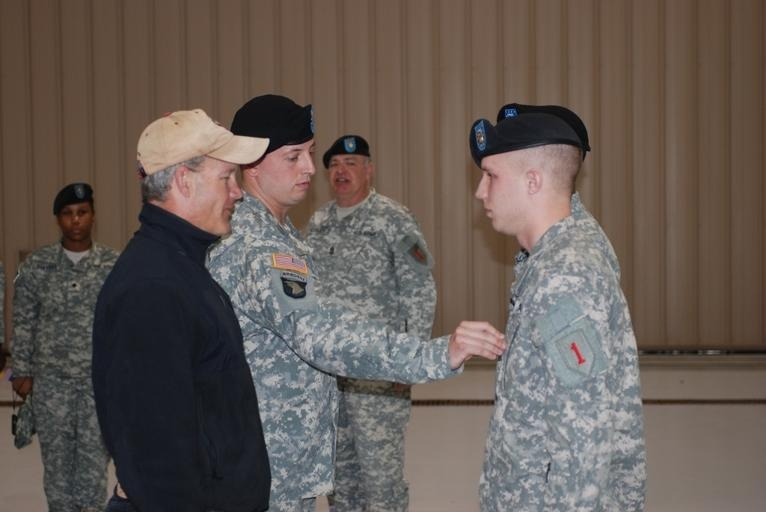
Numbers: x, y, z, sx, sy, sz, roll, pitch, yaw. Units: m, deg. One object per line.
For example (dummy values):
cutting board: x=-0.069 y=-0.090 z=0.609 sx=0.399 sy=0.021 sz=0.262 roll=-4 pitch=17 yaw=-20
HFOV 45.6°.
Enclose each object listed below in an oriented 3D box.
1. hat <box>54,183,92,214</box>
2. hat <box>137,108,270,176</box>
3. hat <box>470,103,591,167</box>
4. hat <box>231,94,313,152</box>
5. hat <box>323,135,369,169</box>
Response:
hat: x=-2.709 y=-0.511 z=7.928 sx=0.295 sy=0.122 sz=0.251 roll=-20 pitch=-2 yaw=37
hat: x=-1.230 y=-0.748 z=5.962 sx=0.650 sy=0.285 sz=0.437 roll=-7 pitch=20 yaw=-5
hat: x=1.063 y=-0.837 z=6.292 sx=0.741 sy=0.416 sz=0.597 roll=5 pitch=-7 yaw=8
hat: x=-0.761 y=-0.988 z=6.427 sx=0.629 sy=0.360 sz=0.477 roll=4 pitch=13 yaw=19
hat: x=-0.326 y=-0.914 z=7.954 sx=0.351 sy=0.188 sz=0.270 roll=4 pitch=-9 yaw=-20
